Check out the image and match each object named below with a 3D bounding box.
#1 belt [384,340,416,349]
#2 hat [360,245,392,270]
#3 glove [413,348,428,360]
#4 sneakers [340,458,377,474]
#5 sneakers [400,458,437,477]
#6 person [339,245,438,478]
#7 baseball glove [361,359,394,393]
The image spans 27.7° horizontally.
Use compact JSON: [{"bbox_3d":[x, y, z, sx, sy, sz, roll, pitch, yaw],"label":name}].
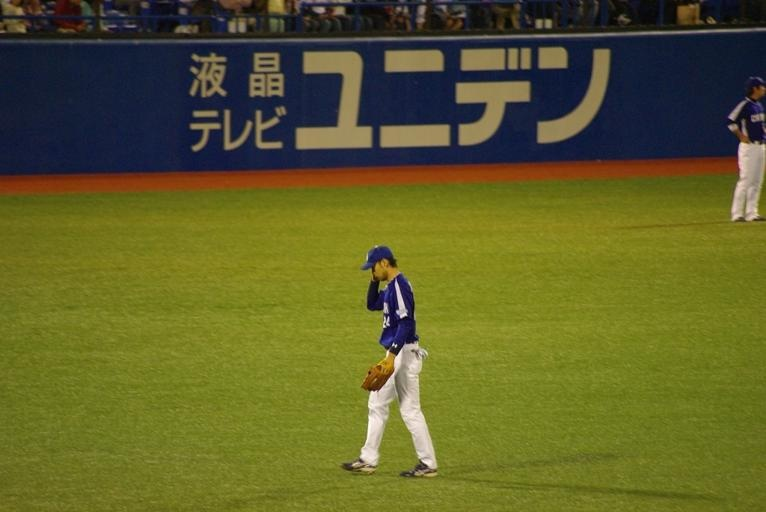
[{"bbox_3d":[0.202,1.061,19.299,0.433,0.131,0.270,-1,11,0],"label":"belt"},{"bbox_3d":[-0.054,-0.006,19.466,0.432,0.188,0.255,-7,9,2],"label":"hat"},{"bbox_3d":[0.449,1.187,19.363,0.050,0.142,0.161,-21,3,41],"label":"glove"},{"bbox_3d":[-0.288,2.589,19.544,0.503,0.181,0.162,5,4,2],"label":"sneakers"},{"bbox_3d":[0.463,2.636,19.513,0.517,0.185,0.167,1,1,-6],"label":"sneakers"},{"bbox_3d":[0.148,1.310,19.354,1.008,2.851,0.883,6,16,31],"label":"person"},{"bbox_3d":[-0.051,1.445,19.205,0.462,0.276,0.145,-41,5,0],"label":"baseball glove"}]
